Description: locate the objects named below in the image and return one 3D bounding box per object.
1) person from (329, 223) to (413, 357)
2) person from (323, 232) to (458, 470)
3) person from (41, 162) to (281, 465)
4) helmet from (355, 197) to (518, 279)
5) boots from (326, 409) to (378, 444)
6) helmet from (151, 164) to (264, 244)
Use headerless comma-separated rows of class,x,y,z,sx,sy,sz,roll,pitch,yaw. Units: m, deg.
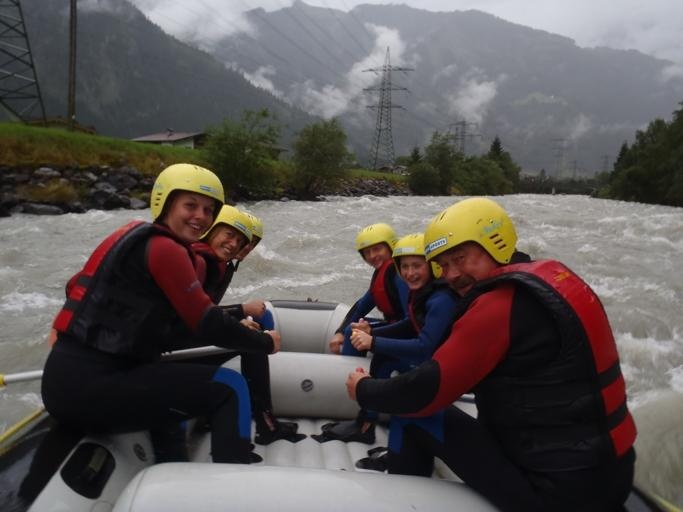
person,0.272,0.421,4.607,0.771,1.362,0.598,1,-2,-13
person,0.433,0.655,3.748,0.981,1.575,0.729,7,2,-11
person,-1.033,0.362,2.965,1.109,1.758,0.825,1,6,-3
helmet,0.619,-0.124,2.705,0.407,0.309,0.313,-25,9,0
boots,0.099,1.233,3.899,0.385,0.276,0.194,10,-13,8
helmet,-0.874,-0.383,3.150,0.353,0.413,0.458,24,10,-30
